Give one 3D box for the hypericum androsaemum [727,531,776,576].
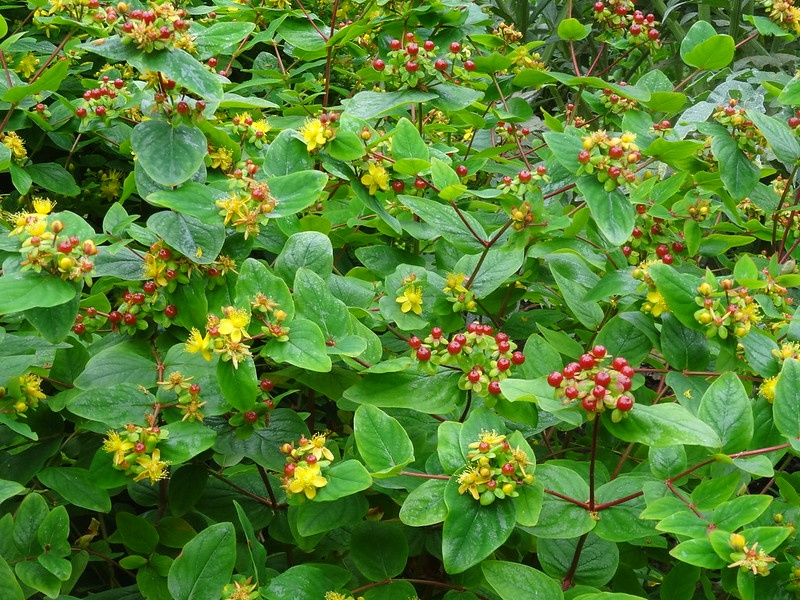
[{"bbox_3d":[0.789,0.565,1.849,0.099,0.045,0.103,39,40,14],"label":"hypericum androsaemum"}]
